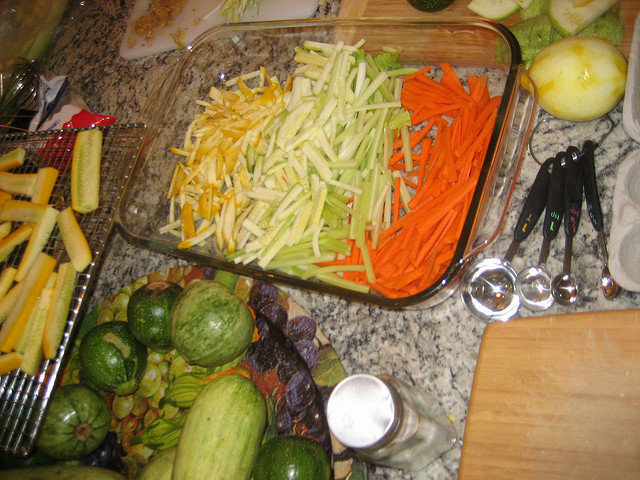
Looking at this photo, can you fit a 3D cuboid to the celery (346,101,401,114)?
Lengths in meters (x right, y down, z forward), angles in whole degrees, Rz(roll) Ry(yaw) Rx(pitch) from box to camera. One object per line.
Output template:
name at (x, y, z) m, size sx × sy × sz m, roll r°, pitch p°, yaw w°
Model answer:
celery at (0.140, -0.338, 1.364) m, size 0.134 × 0.022 × 0.040 m, roll 0°, pitch 70°, yaw 3°

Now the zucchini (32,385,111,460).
zucchini at (-0.611, 0.446, 1.290) m, size 0.136 × 0.117 × 0.171 m, roll 9°, pitch 34°, yaw 4°

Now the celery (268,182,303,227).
celery at (-0.084, -0.087, 1.357) m, size 0.025 × 0.018 × 0.115 m, roll 32°, pitch 86°, yaw 21°

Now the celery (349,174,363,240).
celery at (0.093, -0.052, 1.329) m, size 0.022 × 0.021 × 0.161 m, roll -12°, pitch 62°, yaw 34°

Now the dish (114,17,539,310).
dish at (0.004, -0.207, 1.447) m, size 0.928 × 0.212 × 0.804 m, roll 14°, pitch 83°, yaw 17°

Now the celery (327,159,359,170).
celery at (0.062, -0.190, 1.342) m, size 0.091 × 0.027 × 0.032 m, roll 2°, pitch 69°, yaw 21°

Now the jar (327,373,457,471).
jar at (0.165, 0.401, 1.157) m, size 0.265 × 0.309 × 0.155 m, roll -25°, pitch 53°, yaw -3°

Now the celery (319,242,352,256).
celery at (0.035, 0.015, 1.364) m, size 0.095 × 0.019 × 0.030 m, roll 22°, pitch 95°, yaw 24°

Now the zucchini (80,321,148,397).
zucchini at (-0.524, 0.276, 1.402) m, size 0.200 × 0.163 × 0.172 m, roll -16°, pitch 25°, yaw -26°

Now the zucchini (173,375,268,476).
zucchini at (-0.226, 0.446, 1.229) m, size 0.174 × 0.113 × 0.242 m, roll 7°, pitch 61°, yaw 18°

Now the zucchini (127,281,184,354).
zucchini at (-0.408, 0.178, 1.373) m, size 0.119 × 0.165 × 0.131 m, roll -20°, pitch 31°, yaw -31°
